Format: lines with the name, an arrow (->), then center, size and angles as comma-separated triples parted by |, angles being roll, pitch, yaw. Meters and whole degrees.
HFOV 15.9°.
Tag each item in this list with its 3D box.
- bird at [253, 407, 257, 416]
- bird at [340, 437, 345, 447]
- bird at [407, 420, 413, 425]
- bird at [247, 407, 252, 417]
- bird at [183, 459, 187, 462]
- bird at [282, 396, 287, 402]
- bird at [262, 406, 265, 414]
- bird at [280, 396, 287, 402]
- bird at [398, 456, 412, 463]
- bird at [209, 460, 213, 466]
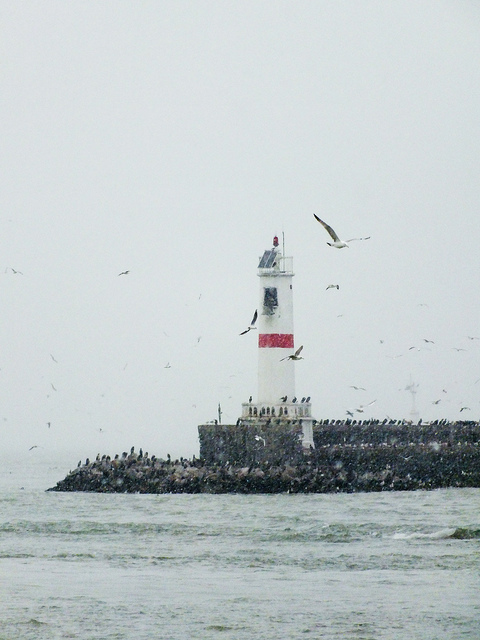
bird -> 0.424, 3.439, 61.605 | 0.146, 0.241, 0.113 | 0, 1, 8
bird -> 3.835, 4.858, 66.135 | 0.169, 0.236, 0.513 | 0, 1, 4
bird -> 6.841, 4.359, 70.008 | 0.163, 0.251, 0.225 | -1, -13, 6
bird -> 0.248, 3.462, 61.645 | 0.144, 0.277, 0.328 | 0, 1, -5
bird -> -2.163, 5.428, 63.912 | 0.103, 0.068, 0.167 | 1, 1, 6
bird -> 1.495, 3.000, 61.192 | 0.158, 0.169, 0.204 | 0, 1, 19
bird -> 0.729, 3.398, 61.495 | 0.072, 0.262, 0.115 | 0, 1, -8
bird -> 1.446, 2.990, 61.221 | 0.247, 0.189, 0.265 | 0, 1, -1
bird -> 5.572, 4.988, 59.205 | 0.429, 0.256, 0.201 | -1, 1, -22
bird -> -1.170, 5.347, 61.963 | 0.105, 0.212, 0.430 | 0, 1, -8
